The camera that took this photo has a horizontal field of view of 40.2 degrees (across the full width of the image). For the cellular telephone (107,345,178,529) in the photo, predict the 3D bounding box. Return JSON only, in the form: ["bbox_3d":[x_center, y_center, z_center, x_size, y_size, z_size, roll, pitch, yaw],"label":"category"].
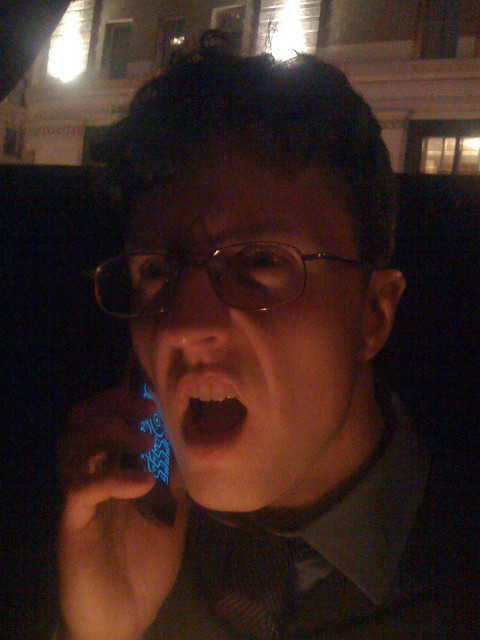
[{"bbox_3d":[-0.115,0.128,0.770,0.037,0.247,0.099,-24,50,-21],"label":"cellular telephone"}]
